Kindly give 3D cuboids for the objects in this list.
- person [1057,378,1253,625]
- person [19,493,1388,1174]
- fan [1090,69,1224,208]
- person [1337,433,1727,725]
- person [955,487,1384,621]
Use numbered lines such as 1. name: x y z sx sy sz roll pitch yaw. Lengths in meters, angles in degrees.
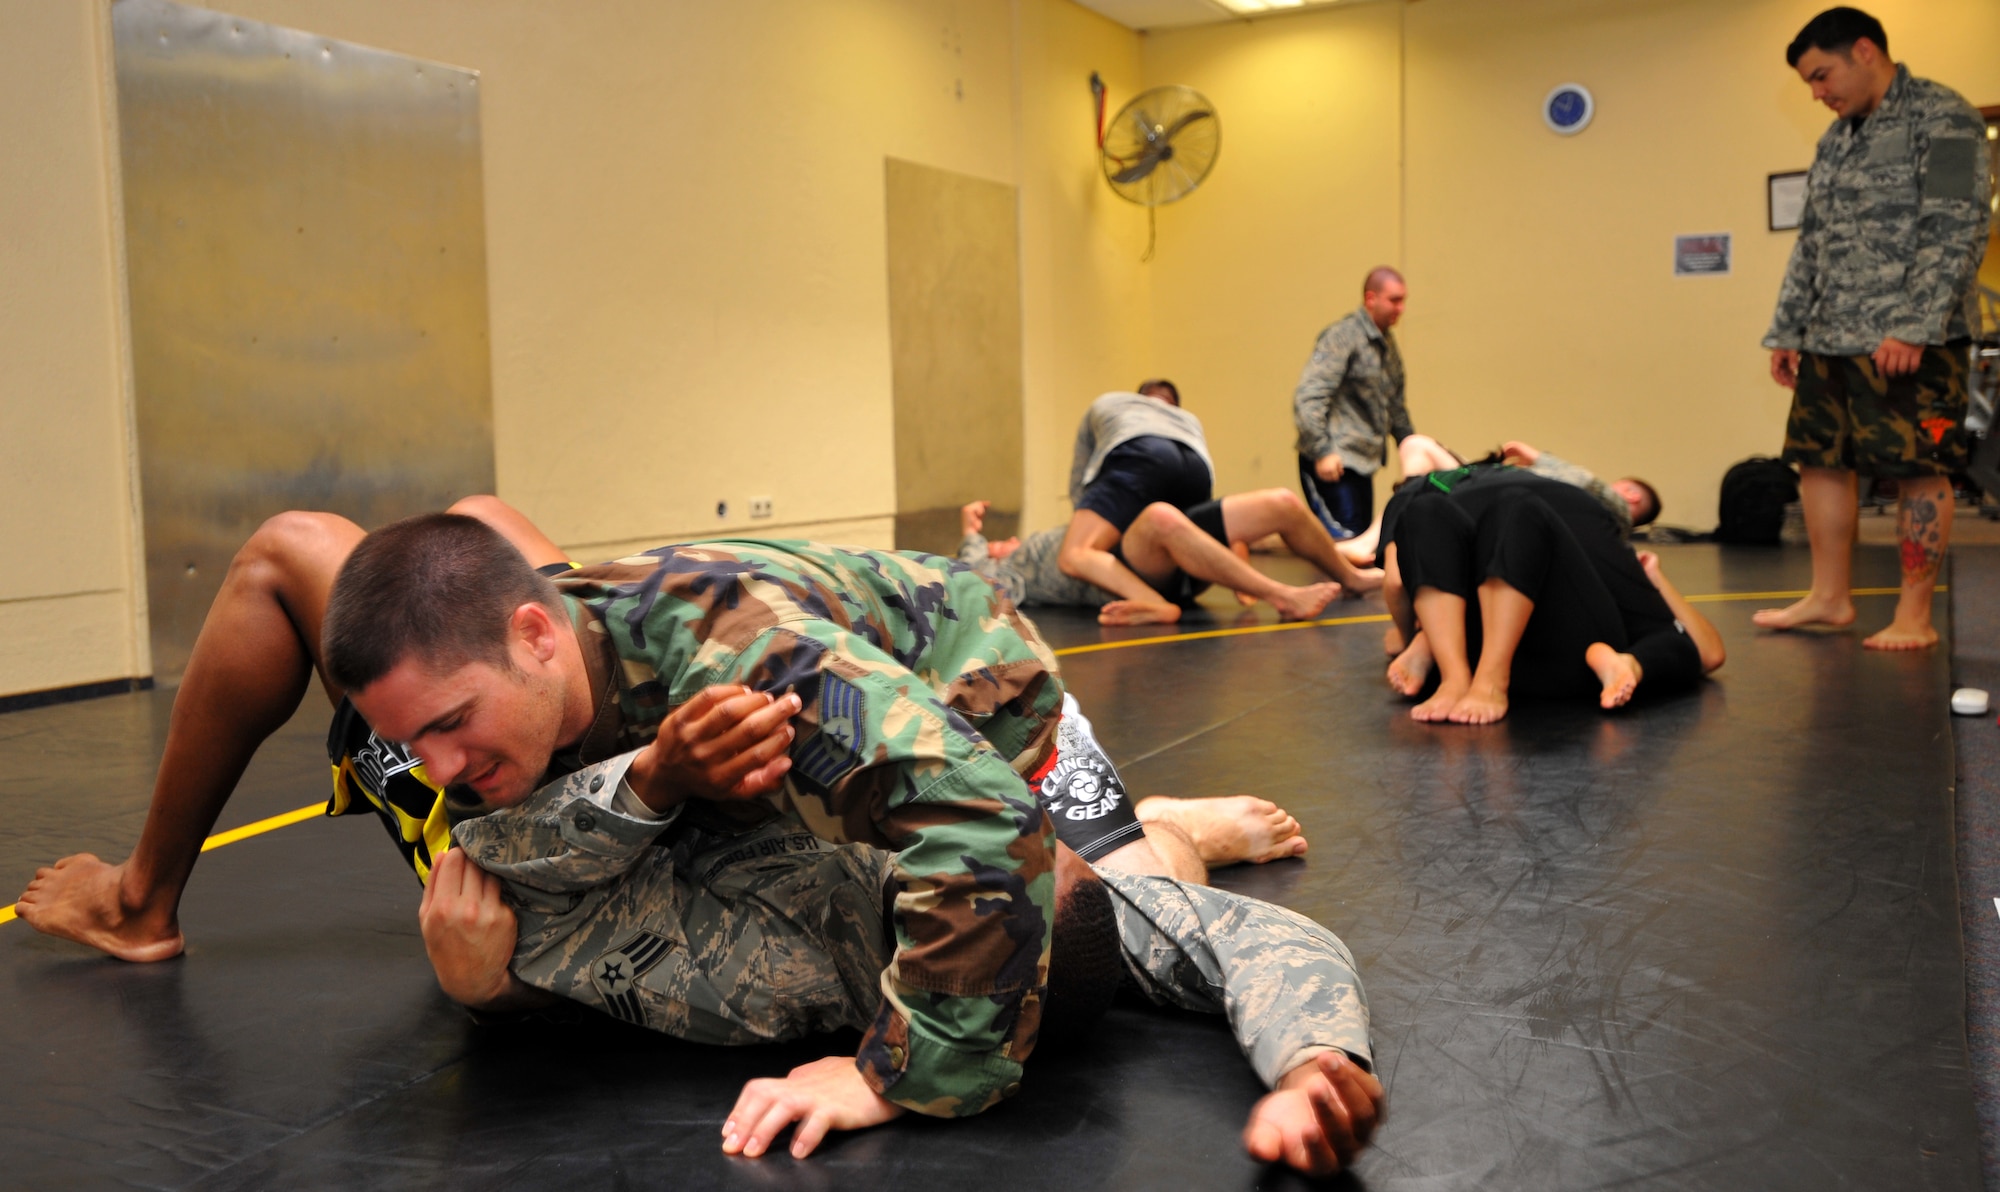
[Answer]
1. person: 0.572 -0.456 6.512 0.578 1.299 0.809 10 -29 -13
2. person: -0.282 0.379 2.348 1.607 0.514 1.247 0 -2 44
3. fan: 0.982 -2.977 9.504 0.519 0.718 1.220 -11 15 -33
4. person: 1.548 -0.015 4.230 0.699 0.400 1.039 6 9 26
5. person: 0.698 -0.178 6.566 2.107 0.528 0.902 1 11 39
